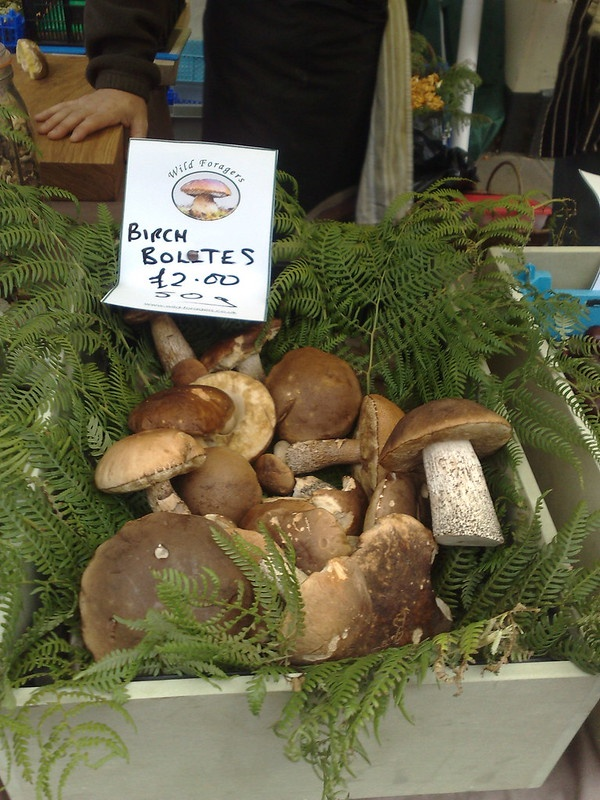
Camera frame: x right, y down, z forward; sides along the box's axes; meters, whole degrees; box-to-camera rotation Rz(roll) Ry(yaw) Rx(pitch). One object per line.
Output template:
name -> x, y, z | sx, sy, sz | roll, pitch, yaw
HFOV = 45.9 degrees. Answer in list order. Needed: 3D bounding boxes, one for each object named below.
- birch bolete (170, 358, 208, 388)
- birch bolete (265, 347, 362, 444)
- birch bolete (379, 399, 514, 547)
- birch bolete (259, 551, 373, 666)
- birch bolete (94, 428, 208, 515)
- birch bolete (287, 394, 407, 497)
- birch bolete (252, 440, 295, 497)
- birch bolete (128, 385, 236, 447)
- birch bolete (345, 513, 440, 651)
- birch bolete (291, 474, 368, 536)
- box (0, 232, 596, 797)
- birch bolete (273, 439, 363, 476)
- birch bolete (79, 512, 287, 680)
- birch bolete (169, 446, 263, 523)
birch bolete -> -0.217, -0.054, 1.402 | 0.064, 0.031, 0.059 | 1, 33, 21
birch bolete -> 0.031, -0.002, 1.329 | 0.191, 0.099, 0.166 | -15, 83, 1
birch bolete -> 0.257, 0.115, 1.210 | 0.247, 0.214, 0.238 | -7, 70, -2
birch bolete -> 0.044, 0.282, 0.977 | 0.040, 0.136, 0.133 | 7, 48, 39
birch bolete -> -0.233, 0.100, 1.160 | 0.162, 0.136, 0.152 | -14, 11, -22
birch bolete -> 0.083, 0.088, 1.351 | 0.220, 0.203, 0.174 | -20, 81, -11
birch bolete -> -0.045, 0.132, 1.298 | 0.097, 0.030, 0.090 | -32, 34, 17
birch bolete -> -0.198, 0.017, 1.206 | 0.125, 0.057, 0.117 | -5, 13, 9
birch bolete -> 0.138, 0.267, 1.041 | 0.145, 0.043, 0.168 | 4, 81, -27
birch bolete -> 0.073, 0.172, 1.207 | 0.108, 0.094, 0.099 | -1, 18, -29
box -> 0.101, 0.185, 1.202 | 0.798, 0.424, 0.719 | 1, 38, -3
birch bolete -> 0.038, 0.112, 1.326 | 0.203, 0.051, 0.061 | -1, 28, 12
birch bolete -> -0.175, 0.250, 0.994 | 0.274, 0.167, 0.195 | -8, 42, -13
birch bolete -> -0.128, 0.144, 1.166 | 0.132, 0.063, 0.118 | 16, 53, -10
